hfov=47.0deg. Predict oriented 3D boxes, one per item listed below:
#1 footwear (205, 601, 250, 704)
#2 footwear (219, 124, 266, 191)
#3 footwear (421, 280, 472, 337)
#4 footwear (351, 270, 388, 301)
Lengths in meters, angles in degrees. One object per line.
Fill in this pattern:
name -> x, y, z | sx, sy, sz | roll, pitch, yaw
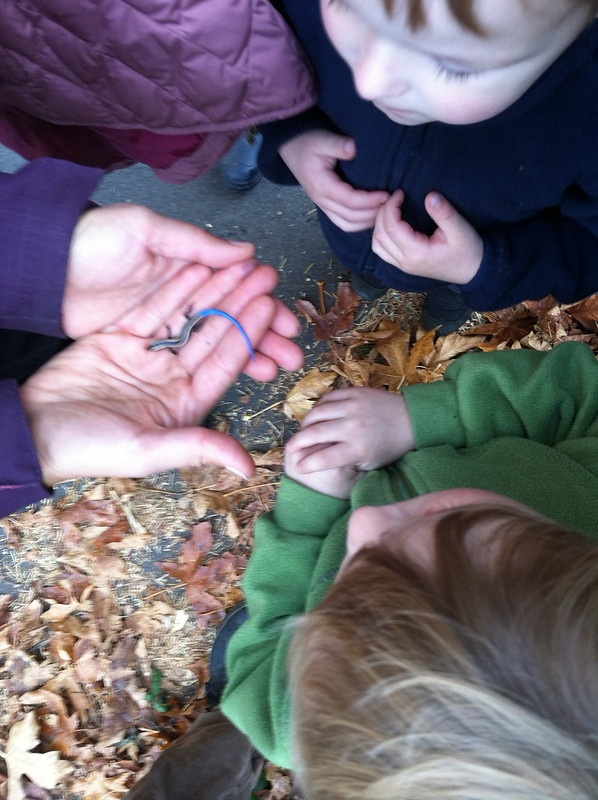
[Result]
footwear -> -0.338, 1.102, 2.955 | 0.127, 0.429, 0.419 | 16, 40, -4
footwear -> -0.264, -1.208, 3.416 | 0.116, 0.077, 0.272 | 12, 109, 24
footwear -> 0.672, -0.417, 3.189 | 0.150, 0.117, 0.259 | 0, 88, 14
footwear -> 0.348, -0.559, 3.355 | 0.059, 0.166, 0.113 | -46, 67, 14
